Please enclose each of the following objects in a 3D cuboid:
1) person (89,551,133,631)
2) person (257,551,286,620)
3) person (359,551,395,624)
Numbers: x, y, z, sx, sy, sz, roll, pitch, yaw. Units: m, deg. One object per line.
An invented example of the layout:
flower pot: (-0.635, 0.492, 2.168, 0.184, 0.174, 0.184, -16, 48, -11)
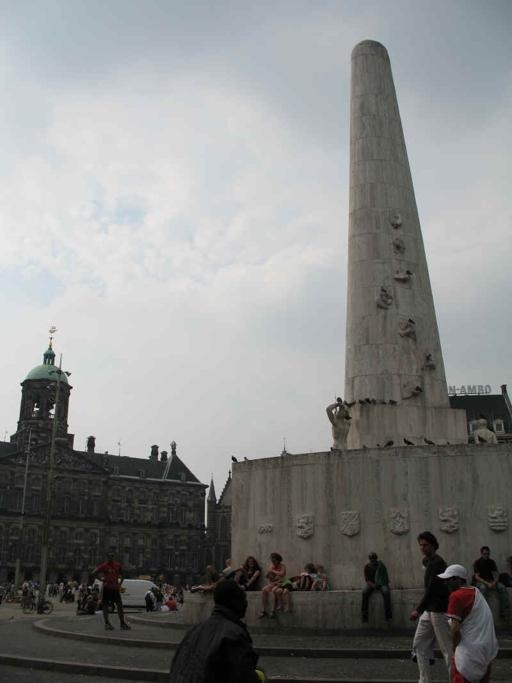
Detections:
person: (-2.601, 4.652, 13.380, 0.508, 1.015, 1.258, -12, -5, -15)
person: (0.296, 4.321, 13.052, 0.412, 1.038, 0.611, -4, -16, 16)
person: (1.907, 4.195, 12.407, 0.593, 1.015, 0.471, -14, -6, 6)
